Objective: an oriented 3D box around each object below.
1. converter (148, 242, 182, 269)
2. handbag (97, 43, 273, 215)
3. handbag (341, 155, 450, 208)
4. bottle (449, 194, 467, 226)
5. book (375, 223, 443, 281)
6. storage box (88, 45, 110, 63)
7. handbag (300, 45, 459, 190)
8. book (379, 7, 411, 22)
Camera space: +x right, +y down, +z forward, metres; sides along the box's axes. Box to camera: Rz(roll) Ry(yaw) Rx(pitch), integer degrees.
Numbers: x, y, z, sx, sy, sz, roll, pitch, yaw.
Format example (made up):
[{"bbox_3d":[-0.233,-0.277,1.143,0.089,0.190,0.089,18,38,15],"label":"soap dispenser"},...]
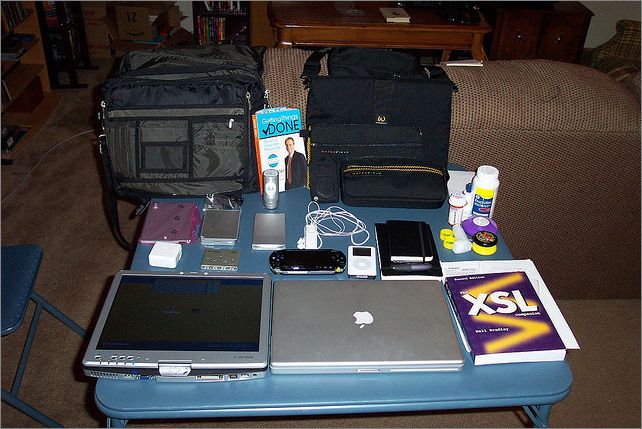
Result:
[{"bbox_3d":[-0.603,0.159,1.968,0.108,0.048,0.099,3,40,0],"label":"converter"},{"bbox_3d":[-0.624,-0.316,2.417,0.841,0.542,0.611,-2,51,-4],"label":"handbag"},{"bbox_3d":[0.304,-0.149,2.127,0.408,0.111,0.199,1,66,-1],"label":"handbag"},{"bbox_3d":[0.568,-0.017,2.104,0.087,0.125,0.079,-8,33,-5],"label":"bottle"},{"bbox_3d":[0.340,0.134,1.990,0.229,0.053,0.204,5,43,1],"label":"book"},{"bbox_3d":[-2.186,-1.580,5.066,0.316,0.151,0.198,-1,10,-12],"label":"storage box"},{"bbox_3d":[0.188,-0.501,2.487,0.873,0.730,0.541,2,24,-2],"label":"handbag"},{"bbox_3d":[0.587,-1.580,4.008,0.205,0.074,0.250,-5,33,-9],"label":"book"}]
